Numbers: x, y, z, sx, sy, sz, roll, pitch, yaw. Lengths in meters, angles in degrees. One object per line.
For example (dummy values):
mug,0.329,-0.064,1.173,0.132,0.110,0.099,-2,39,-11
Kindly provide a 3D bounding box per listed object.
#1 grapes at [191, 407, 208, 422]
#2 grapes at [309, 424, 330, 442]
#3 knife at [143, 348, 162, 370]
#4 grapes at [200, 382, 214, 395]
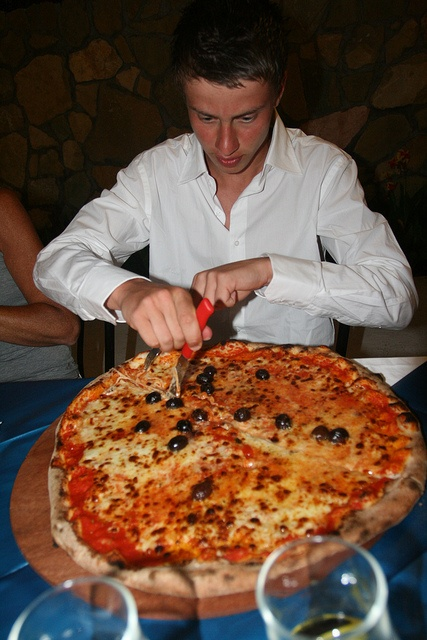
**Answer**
grapes,-0.031,0.204,1.125,0.028,0.015,0.023,-1,23,-33
grapes,0.216,0.226,1.043,0.025,0.017,0.030,6,40,16
knife,-0.153,0.093,1.305,0.022,0.020,0.078,9,28,11
grapes,-0.015,0.162,1.241,0.022,0.015,0.027,-5,17,4
